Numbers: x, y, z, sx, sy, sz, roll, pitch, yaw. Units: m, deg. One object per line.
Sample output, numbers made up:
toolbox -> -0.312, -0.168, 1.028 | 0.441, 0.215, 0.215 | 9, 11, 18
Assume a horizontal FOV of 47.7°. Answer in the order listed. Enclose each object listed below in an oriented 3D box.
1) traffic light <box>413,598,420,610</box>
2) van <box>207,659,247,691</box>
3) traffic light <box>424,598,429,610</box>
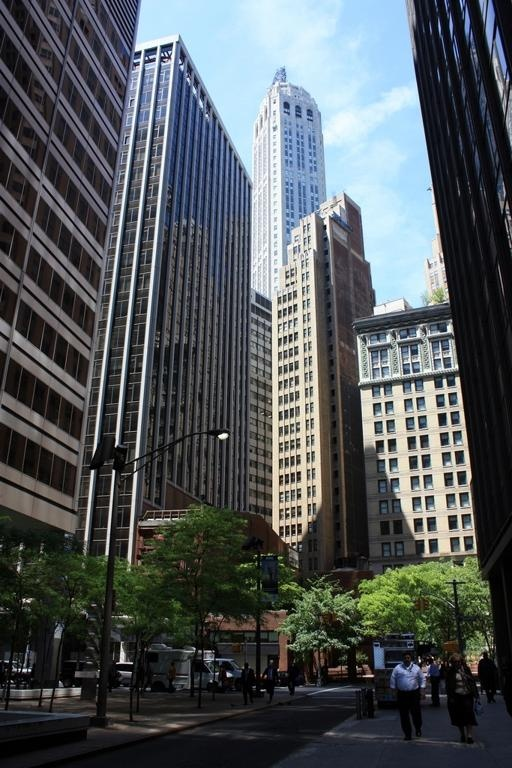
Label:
traffic light -> 13.302, 18.154, 47.723 | 0.329, 0.855, 2.107 | -5, -21, 10
van -> -1.735, 20.321, 39.490 | 3.189, 2.081, 2.469 | -3, -22, 3
traffic light -> 13.731, 17.814, 47.013 | 0.321, 0.744, 1.150 | -9, -22, 22
